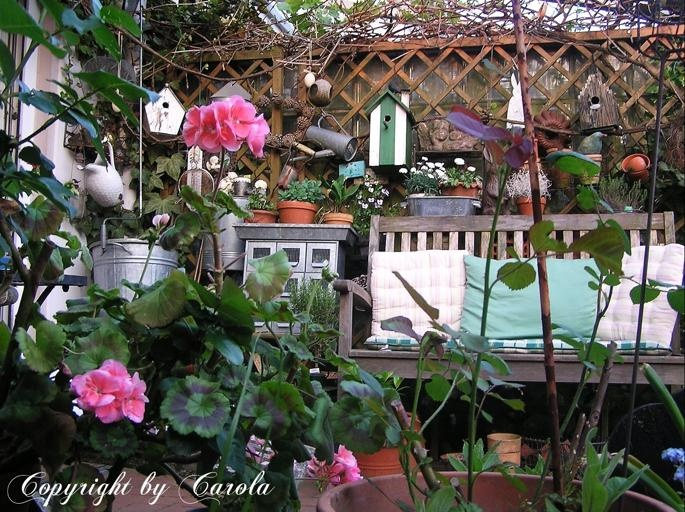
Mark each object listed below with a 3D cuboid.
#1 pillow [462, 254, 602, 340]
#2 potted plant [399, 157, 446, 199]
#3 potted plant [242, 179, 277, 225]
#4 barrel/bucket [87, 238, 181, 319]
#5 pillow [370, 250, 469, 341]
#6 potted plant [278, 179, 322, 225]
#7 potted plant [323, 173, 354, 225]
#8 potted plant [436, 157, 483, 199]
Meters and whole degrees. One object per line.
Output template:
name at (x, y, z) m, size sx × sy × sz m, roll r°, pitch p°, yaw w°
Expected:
pillow at (0.572, 0.135, 2.110) m, size 0.293 × 0.197 × 0.074 m, roll 1°, pitch -13°, yaw 14°
potted plant at (0.400, -0.355, 3.413) m, size 0.212 × 0.157 × 0.209 m, roll -2°, pitch 4°, yaw -32°
potted plant at (-0.414, -0.277, 3.684) m, size 0.163 × 0.224 × 0.327 m, roll 3°, pitch 2°, yaw -6°
barrel/bucket at (-1.059, 0.031, 3.575) m, size 0.431 × 0.368 × 0.448 m, roll 9°, pitch 18°, yaw -3°
pillow at (0.315, 0.181, 3.003) m, size 0.350 × 0.364 × 0.095 m, roll 1°, pitch -17°, yaw 3°
potted plant at (-0.203, -0.277, 3.566) m, size 0.201 × 0.226 × 0.217 m, roll 1°, pitch -14°, yaw 1°
potted plant at (-0.021, -0.253, 3.504) m, size 0.144 × 0.223 × 0.173 m, roll 15°, pitch 5°, yaw 23°
potted plant at (0.541, -0.350, 3.379) m, size 0.195 × 0.154 × 0.204 m, roll 0°, pitch 3°, yaw -31°
